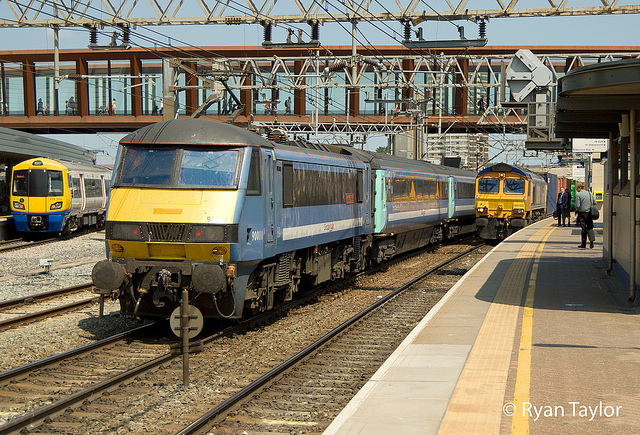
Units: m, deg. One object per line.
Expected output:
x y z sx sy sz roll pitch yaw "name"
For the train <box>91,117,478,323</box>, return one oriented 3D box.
1.472 -0.234 25.948 4.157 4.579 28.614 1 1 21 "train"
